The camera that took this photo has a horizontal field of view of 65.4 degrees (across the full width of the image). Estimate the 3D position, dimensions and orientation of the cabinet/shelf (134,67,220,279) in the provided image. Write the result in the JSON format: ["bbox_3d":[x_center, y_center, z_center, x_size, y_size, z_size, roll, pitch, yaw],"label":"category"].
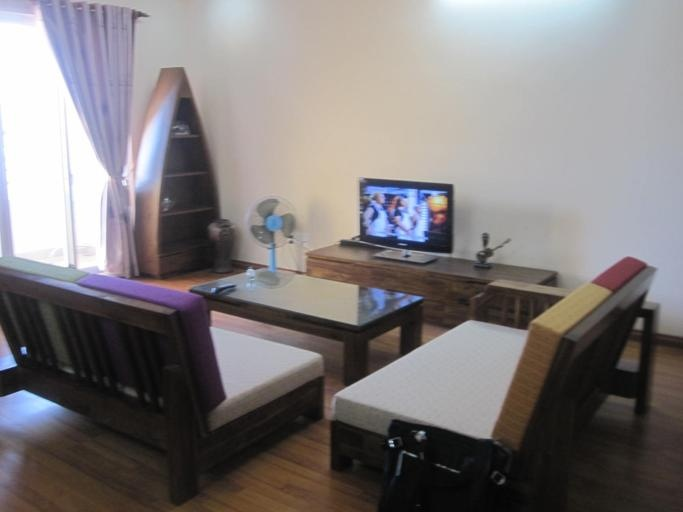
[{"bbox_3d":[-1.740,-0.863,5.481,0.571,2.043,0.877,12,18,35],"label":"cabinet/shelf"}]

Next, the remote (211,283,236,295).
[{"bbox_3d":[-0.795,0.221,3.637,0.060,0.066,0.255,-2,6,28],"label":"remote"}]

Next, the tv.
[{"bbox_3d":[0.566,-0.298,4.557,0.972,0.681,0.203,11,18,40],"label":"tv"}]
